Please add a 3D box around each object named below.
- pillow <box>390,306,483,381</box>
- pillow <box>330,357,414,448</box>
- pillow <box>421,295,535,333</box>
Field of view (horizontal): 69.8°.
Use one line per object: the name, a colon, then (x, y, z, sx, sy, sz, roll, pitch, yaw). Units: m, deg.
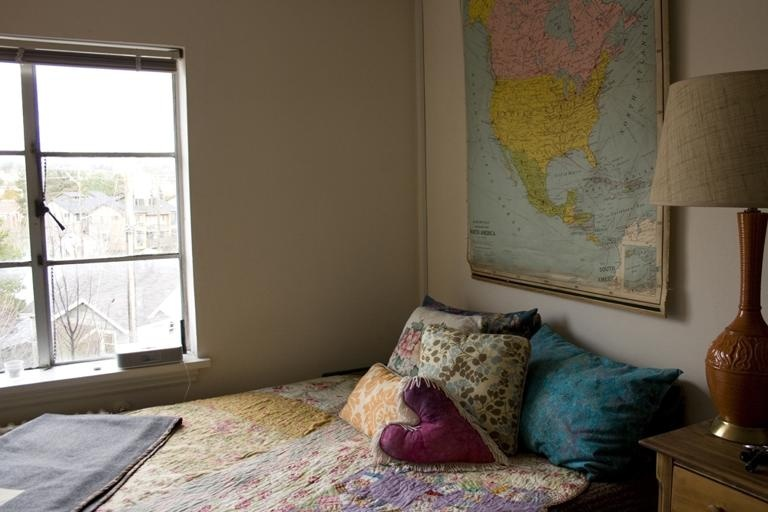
pillow: (0.245, 0.485, 2.995, 0.367, 0.349, 0.112, 4, -21, 45)
pillow: (-0.038, 0.689, 2.617, 0.138, 0.275, 0.465, 26, -7, -15)
pillow: (0.521, 0.329, 2.959, 0.264, 0.128, 0.597, -7, 6, -39)
